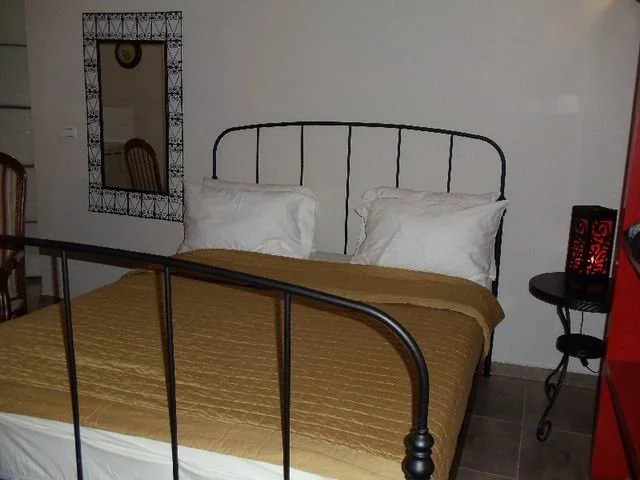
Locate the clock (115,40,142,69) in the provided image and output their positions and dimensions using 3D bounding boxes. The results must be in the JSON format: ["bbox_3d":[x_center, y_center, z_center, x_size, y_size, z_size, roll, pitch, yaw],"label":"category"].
[{"bbox_3d":[-1.306,-1.261,3.574,0.212,0.178,0.016,5,8,17],"label":"clock"}]
